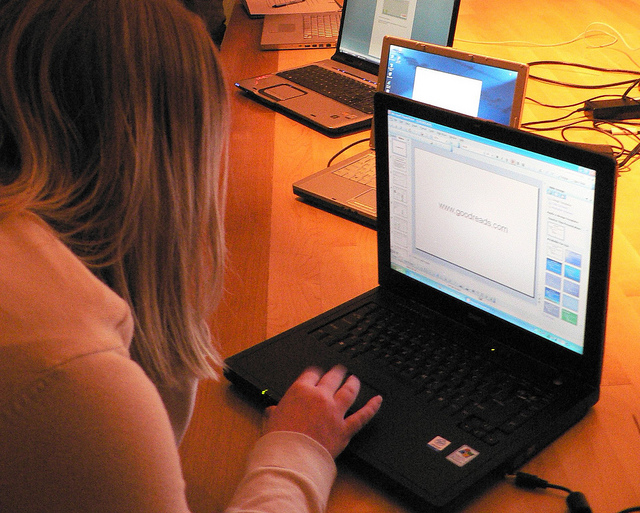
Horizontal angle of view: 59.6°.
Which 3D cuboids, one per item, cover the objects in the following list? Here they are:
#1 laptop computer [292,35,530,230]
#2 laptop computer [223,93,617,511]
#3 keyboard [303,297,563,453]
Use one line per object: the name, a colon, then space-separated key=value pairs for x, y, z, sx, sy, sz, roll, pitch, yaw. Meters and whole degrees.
laptop computer: x=0.178 y=-0.252 z=1.135 sx=0.402 sy=0.267 sz=0.428 roll=-22 pitch=39 yaw=-20
laptop computer: x=0.141 y=0.042 z=0.765 sx=0.484 sy=0.361 sz=0.427 roll=31 pitch=52 yaw=28
keyboard: x=0.140 y=0.173 z=0.887 sx=0.240 sy=0.036 sz=0.557 roll=-25 pitch=18 yaw=-12
